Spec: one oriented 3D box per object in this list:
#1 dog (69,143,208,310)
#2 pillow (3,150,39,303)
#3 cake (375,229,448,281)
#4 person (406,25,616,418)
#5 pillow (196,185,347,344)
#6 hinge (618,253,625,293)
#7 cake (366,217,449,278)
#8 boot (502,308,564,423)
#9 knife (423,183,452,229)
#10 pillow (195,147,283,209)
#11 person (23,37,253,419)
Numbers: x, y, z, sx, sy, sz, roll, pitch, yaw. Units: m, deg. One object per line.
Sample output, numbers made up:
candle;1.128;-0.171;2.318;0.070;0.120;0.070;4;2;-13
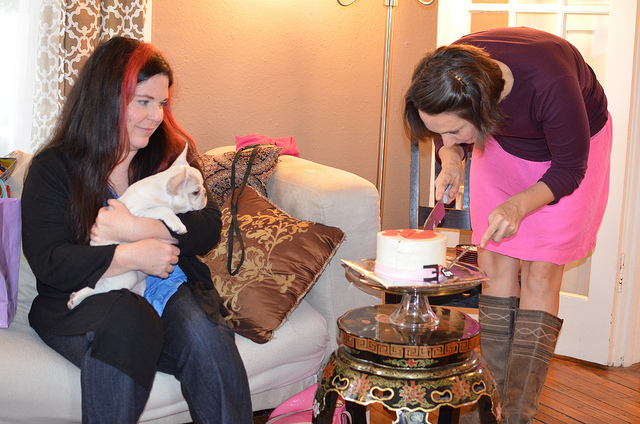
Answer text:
dog;-0.633;-0.002;1.919;0.443;0.468;0.311;10;31;21
pillow;-1.254;0.065;2.012;0.107;0.630;0.681;-5;11;-30
cake;0.307;0.134;1.564;0.212;0.134;0.204;6;10;30
person;0.717;0.036;1.930;0.571;1.550;0.867;9;13;42
pillow;-0.267;0.203;2.118;0.570;0.585;0.470;9;12;42
hinge;1.658;0.335;2.624;0.029;0.210;0.018;-3;10;-20
cake;0.302;0.135;1.605;0.260;0.129;0.262;9;14;41
boot;0.855;0.633;1.921;0.202;0.478;0.198;4;10;20
knife;0.460;-0.020;1.894;0.071;0.015;0.408;31;30;2
pillow;-0.393;-0.210;2.488;0.330;0.104;0.333;-8;51;0
person;-0.665;0.035;1.663;0.687;1.318;0.636;-4;10;-24
